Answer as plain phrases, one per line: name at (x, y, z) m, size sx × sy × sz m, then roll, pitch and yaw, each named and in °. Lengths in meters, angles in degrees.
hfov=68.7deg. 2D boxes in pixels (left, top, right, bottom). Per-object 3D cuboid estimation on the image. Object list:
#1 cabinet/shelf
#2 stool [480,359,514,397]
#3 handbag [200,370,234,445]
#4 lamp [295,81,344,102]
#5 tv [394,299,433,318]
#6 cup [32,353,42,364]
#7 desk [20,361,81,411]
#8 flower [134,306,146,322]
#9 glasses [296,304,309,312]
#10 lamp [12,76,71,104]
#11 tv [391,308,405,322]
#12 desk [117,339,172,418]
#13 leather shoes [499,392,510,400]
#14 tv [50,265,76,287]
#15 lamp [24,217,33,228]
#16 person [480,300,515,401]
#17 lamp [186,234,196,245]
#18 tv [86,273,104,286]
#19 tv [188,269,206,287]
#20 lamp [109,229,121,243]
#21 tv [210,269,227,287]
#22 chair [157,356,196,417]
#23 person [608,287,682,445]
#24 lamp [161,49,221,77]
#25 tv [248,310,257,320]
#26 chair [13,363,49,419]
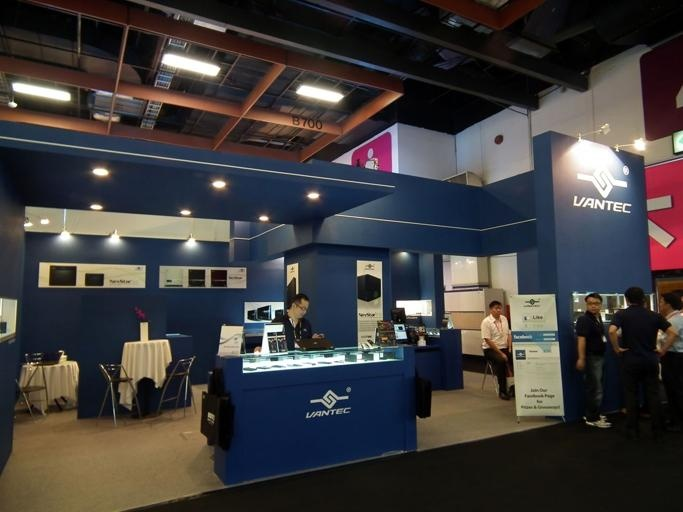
cabinet/shelf at (-0.358, 1.879, 6.322) m, size 2.582 × 1.400 × 0.820 m, roll 3°, pitch -10°, yaw -32°
stool at (2.927, 2.357, 9.662) m, size 0.610 × 0.777 × 0.813 m, roll -15°, pitch -20°, yaw 38°
handbag at (-1.422, 1.741, 5.632) m, size 0.208 × 0.933 × 0.574 m, roll -3°, pitch 3°, yaw -38°
lamp at (-0.424, -2.989, 9.164) m, size 0.816 × 0.358 × 0.977 m, roll -1°, pitch 2°, yaw -7°
tv at (1.678, 1.194, 11.426) m, size 0.829 × 0.408 × 0.439 m, roll -1°, pitch 2°, yaw 10°
cup at (-5.192, 1.742, 8.450) m, size 0.157 × 0.172 × 0.169 m, roll -4°, pitch -5°, yaw 0°
desk at (-4.952, 2.174, 8.626) m, size 0.964 × 0.882 × 0.987 m, roll -1°, pitch -3°, yaw 2°
flower at (-3.372, 0.974, 8.360) m, size 0.218 × 0.254 × 0.149 m, roll -3°, pitch 3°, yaw -34°
glasses at (-0.556, 0.699, 6.837) m, size 0.150 × 0.053 × 0.155 m, roll 13°, pitch 16°, yaw -41°
lamp at (-5.385, -2.929, 8.919) m, size 0.926 × 0.285 × 1.043 m, roll -2°, pitch 3°, yaw -29°
tv at (1.098, 1.164, 9.565) m, size 0.353 × 0.381 × 0.217 m, roll 1°, pitch -6°, yaw 10°
desk at (-3.104, 1.758, 8.209) m, size 0.641 × 0.865 × 0.637 m, roll -15°, pitch 10°, yaw -37°
leather shoes at (2.848, 2.440, 8.644) m, size 0.189 × 0.091 × 0.205 m, roll 0°, pitch 2°, yaw 18°
tv at (-5.721, 0.410, 10.192) m, size 0.451 × 0.428 × 0.104 m, roll 1°, pitch -6°, yaw -35°
lamp at (-6.286, -0.649, 9.952) m, size 0.114 × 0.227 × 0.456 m, roll -2°, pitch 2°, yaw -25°
person at (2.783, 1.659, 8.905) m, size 0.498 × 1.634 × 0.665 m, roll 0°, pitch 2°, yaw 17°
lamp at (-3.417, -0.377, 11.339) m, size 0.191 × 0.312 × 0.194 m, roll -2°, pitch -1°, yaw -6°
tv at (-5.228, 0.504, 10.460) m, size 0.262 × 0.234 × 0.035 m, roll 2°, pitch -10°, yaw -30°
tv at (-3.279, 0.550, 11.304) m, size 0.443 × 0.449 × 0.340 m, roll 2°, pitch -5°, yaw -19°
lamp at (-4.885, -0.424, 10.831) m, size 0.305 × 0.362 × 0.209 m, roll 0°, pitch 1°, yaw -9°
tv at (-2.822, 0.514, 11.391) m, size 0.385 × 0.370 × 0.090 m, roll 5°, pitch -6°, yaw -20°
chair at (-2.862, 2.229, 8.601) m, size 0.827 × 1.289 × 0.702 m, roll 4°, pitch -10°, yaw -22°
person at (4.075, 1.404, 6.738) m, size 0.750 × 1.927 × 0.683 m, roll 0°, pitch 2°, yaw 36°
lamp at (-2.340, -3.027, 7.877) m, size 0.980 × 0.139 × 0.441 m, roll 5°, pitch -5°, yaw -39°
tv at (-2.099, 1.381, 11.646) m, size 0.170 × 0.321 × 0.333 m, roll -1°, pitch -1°, yaw -5°
chair at (-5.136, 2.099, 8.106) m, size 0.573 × 0.883 × 0.489 m, roll 2°, pitch -3°, yaw 17°
